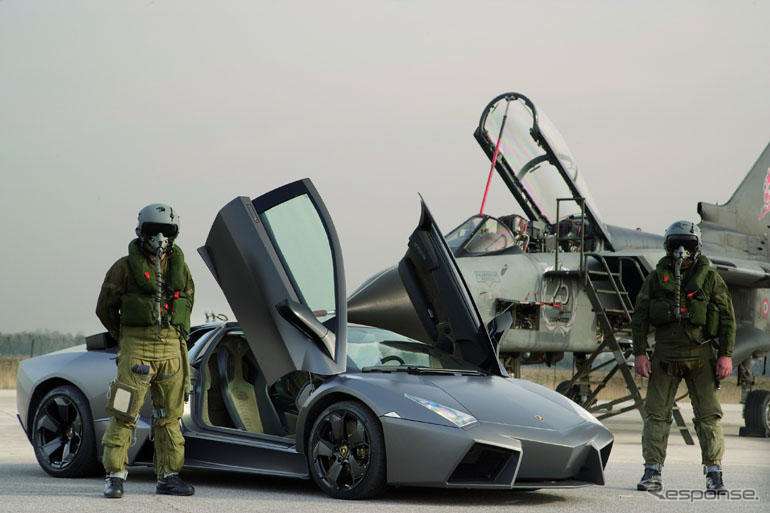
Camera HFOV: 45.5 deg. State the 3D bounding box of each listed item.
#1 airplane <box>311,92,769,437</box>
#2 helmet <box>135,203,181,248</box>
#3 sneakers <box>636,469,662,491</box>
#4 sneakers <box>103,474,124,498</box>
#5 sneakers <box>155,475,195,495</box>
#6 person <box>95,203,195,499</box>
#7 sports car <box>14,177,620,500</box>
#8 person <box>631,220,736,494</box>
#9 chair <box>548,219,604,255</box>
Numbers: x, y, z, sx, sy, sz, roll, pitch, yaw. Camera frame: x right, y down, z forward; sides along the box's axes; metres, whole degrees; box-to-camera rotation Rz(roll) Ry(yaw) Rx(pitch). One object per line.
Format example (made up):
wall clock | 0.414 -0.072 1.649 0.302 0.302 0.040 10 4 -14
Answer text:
airplane | 4.474 0.195 19.013 8.204 4.778 6.837 4 2 -30
helmet | -2.387 -0.333 10.015 0.443 0.454 0.495 0 0 -17
sneakers | 3.086 2.581 10.768 0.416 0.242 0.202 4 -8 -34
sneakers | -2.812 2.453 9.900 0.196 0.229 0.264 2 -7 -19
sneakers | -2.207 2.499 10.132 0.458 0.215 0.176 1 -1 4
person | -2.491 1.000 10.049 0.999 3.152 0.462 2 -6 -17
sports car | -0.795 1.227 10.385 5.280 2.326 3.936 -2 -8 25
person | 3.517 1.141 10.895 1.146 3.184 0.465 -2 -6 13
chair | 3.700 -0.405 17.824 0.957 0.640 0.359 -1 15 -17
